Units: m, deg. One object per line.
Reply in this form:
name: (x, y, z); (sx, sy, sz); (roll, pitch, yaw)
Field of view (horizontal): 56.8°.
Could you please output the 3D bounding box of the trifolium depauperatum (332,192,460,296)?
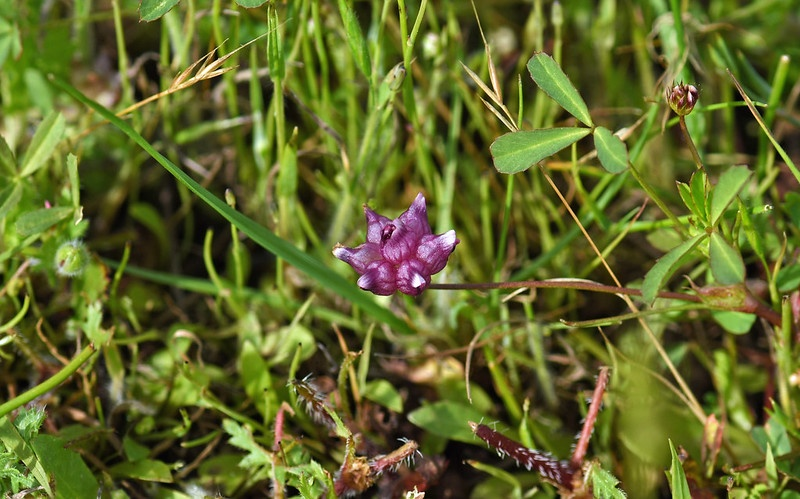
trifolium depauperatum: (-0.003, 0.006, 1.728); (0.252, 0.136, 0.238); (-35, 71, -16)
